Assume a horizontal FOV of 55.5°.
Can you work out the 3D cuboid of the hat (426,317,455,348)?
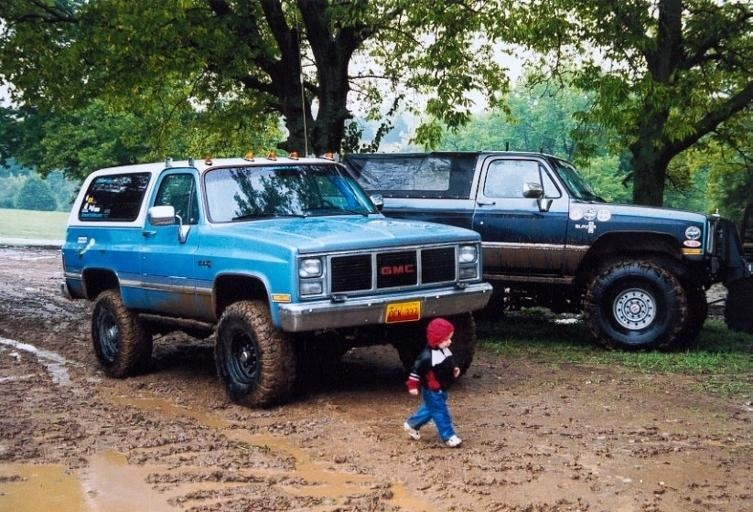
[{"bbox_3d":[0.664,0.836,7.906,0.301,0.282,0.296,-5,8,22],"label":"hat"}]

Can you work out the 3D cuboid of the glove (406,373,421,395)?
[{"bbox_3d":[0.360,1.386,7.759,0.224,0.271,0.107,5,-15,-40],"label":"glove"}]

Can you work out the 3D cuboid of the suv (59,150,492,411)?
[{"bbox_3d":[-1.653,0.067,9.879,5.166,2.555,3.053,-1,0,45],"label":"suv"}]

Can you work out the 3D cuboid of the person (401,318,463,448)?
[{"bbox_3d":[0.595,1.384,7.778,0.599,1.335,0.379,-1,9,-2],"label":"person"}]

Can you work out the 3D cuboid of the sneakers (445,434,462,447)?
[{"bbox_3d":[0.822,2.002,7.745,0.175,0.118,0.096,-1,9,2],"label":"sneakers"}]
